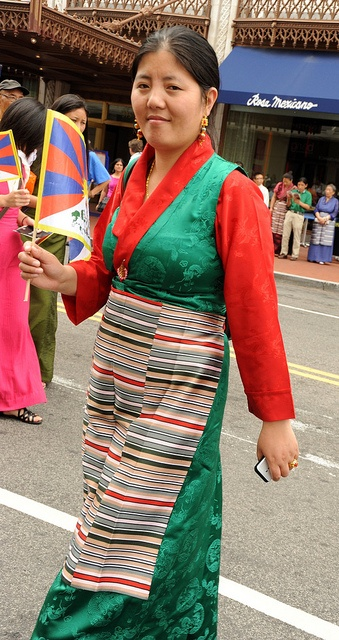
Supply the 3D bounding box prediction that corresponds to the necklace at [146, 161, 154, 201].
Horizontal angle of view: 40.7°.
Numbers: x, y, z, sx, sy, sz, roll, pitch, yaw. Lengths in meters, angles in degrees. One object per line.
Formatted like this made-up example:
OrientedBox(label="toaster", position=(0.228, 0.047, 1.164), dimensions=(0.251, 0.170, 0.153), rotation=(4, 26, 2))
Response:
OrientedBox(label="necklace", position=(-0.053, -0.351, 1.153), dimensions=(0.017, 0.090, 0.050), rotation=(7, -31, 1))
